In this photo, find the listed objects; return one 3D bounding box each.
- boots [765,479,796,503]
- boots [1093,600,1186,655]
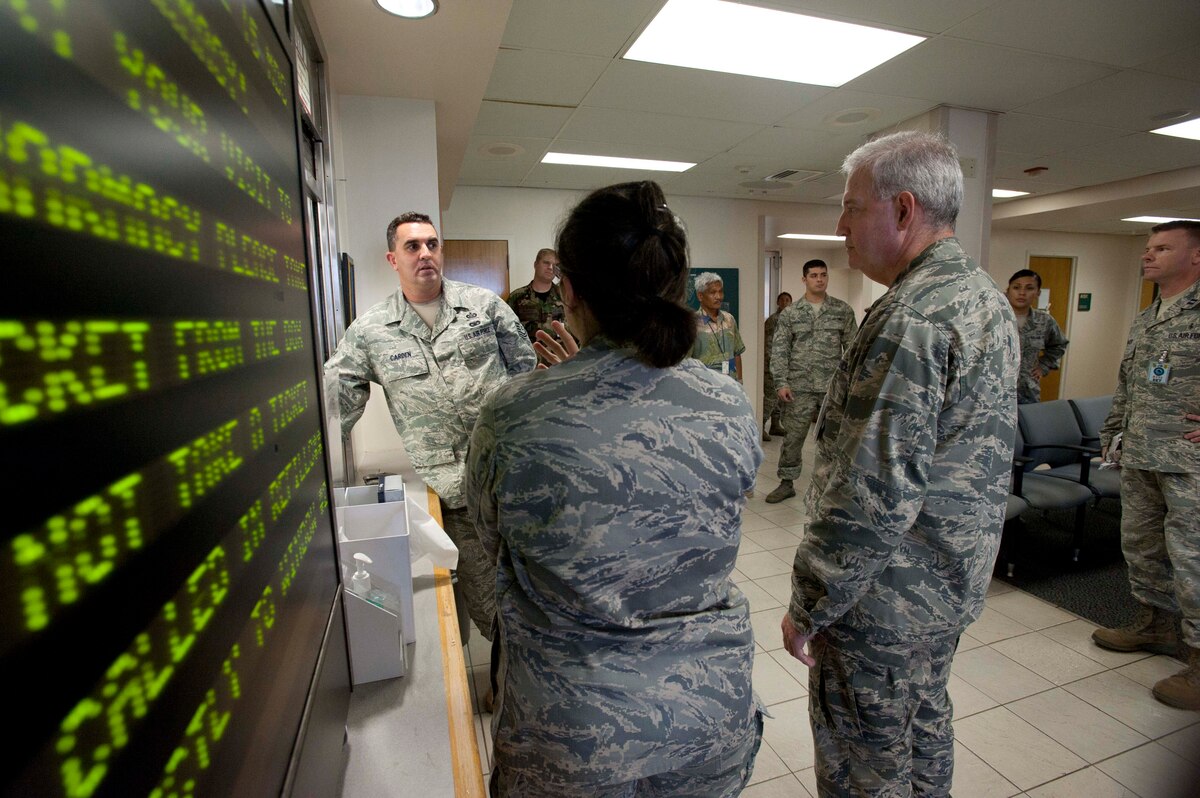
[{"bbox_3d":[1.328,0.694,5.154,0.306,0.196,0.114,-6,3,-33],"label":"boots"},{"bbox_3d":[2.255,0.962,2.926,0.333,0.257,0.135,6,9,39],"label":"boots"}]
